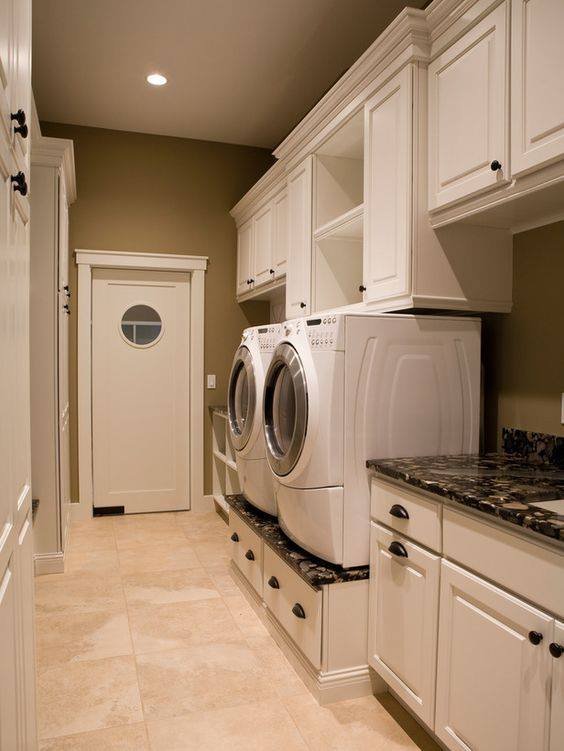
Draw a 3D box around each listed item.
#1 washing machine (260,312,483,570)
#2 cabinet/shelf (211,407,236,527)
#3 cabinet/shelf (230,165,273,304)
[{"bbox_3d":[0.328,0.273,2.282,0.648,1.295,0.735,1,-3,-10],"label":"washing machine"},{"bbox_3d":[-0.426,0.669,3.845,0.148,0.910,0.655,1,-6,-11],"label":"cabinet/shelf"},{"bbox_3d":[-0.172,-0.960,3.930,0.181,0.780,0.660,0,-5,-32],"label":"cabinet/shelf"}]
